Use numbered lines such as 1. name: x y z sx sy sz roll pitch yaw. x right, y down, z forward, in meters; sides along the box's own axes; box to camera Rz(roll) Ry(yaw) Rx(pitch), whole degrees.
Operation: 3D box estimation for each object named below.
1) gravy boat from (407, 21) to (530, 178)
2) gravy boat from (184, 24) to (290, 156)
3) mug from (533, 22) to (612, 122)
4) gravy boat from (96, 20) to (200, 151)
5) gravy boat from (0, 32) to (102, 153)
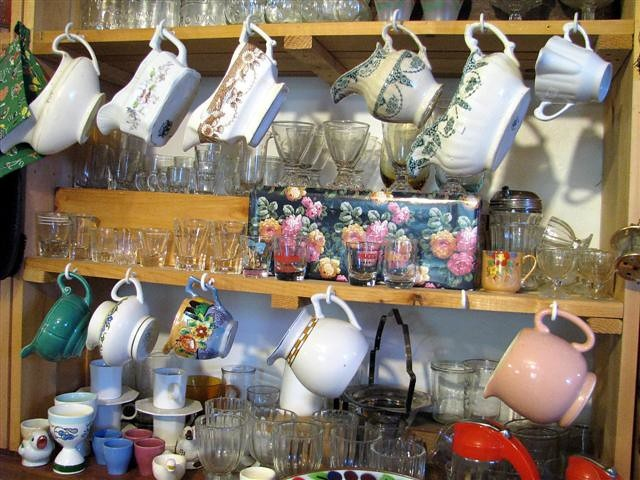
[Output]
1. gravy boat: 0.316 -0.298 1.144 0.191 0.341 0.166 -1 9 -26
2. gravy boat: -0.184 -0.302 1.322 0.135 0.325 0.178 24 9 11
3. mug: 0.527 -0.364 1.177 0.146 0.218 0.158 4 9 6
4. gravy boat: -0.399 -0.344 1.370 0.126 0.326 0.225 22 2 18
5. gravy boat: -0.690 -0.354 1.510 0.187 0.328 0.247 13 11 -1
